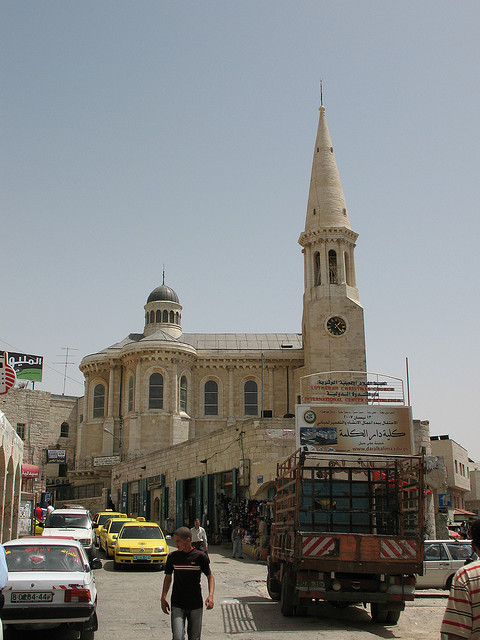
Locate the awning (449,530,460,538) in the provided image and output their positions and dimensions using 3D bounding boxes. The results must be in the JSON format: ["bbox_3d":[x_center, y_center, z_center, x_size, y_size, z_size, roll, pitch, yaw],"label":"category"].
[{"bbox_3d":[9.873,9.846,32.780,0.389,0.184,4.795,-4,-16,16],"label":"awning"}]

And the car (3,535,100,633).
[{"bbox_3d":[-2.391,3.200,9.155,1.319,0.975,2.280,1,-6,-7],"label":"car"}]

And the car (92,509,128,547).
[{"bbox_3d":[-5.393,8.441,29.476,1.376,1.234,2.495,5,-20,-15],"label":"car"}]

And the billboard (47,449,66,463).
[{"bbox_3d":[-16.318,12.062,63.220,1.803,1.284,1.002,1,-10,-7],"label":"billboard"}]

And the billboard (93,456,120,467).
[{"bbox_3d":[-10.404,10.937,55.099,2.814,0.776,0.418,-11,-19,37],"label":"billboard"}]

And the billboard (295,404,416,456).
[{"bbox_3d":[4.242,4.166,26.797,5.331,2.487,0.077,1,-13,-5],"label":"billboard"}]

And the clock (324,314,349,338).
[{"bbox_3d":[7.519,0.512,55.793,1.660,1.686,0.222,8,-24,5],"label":"clock"}]

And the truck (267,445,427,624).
[{"bbox_3d":[1.645,3.692,12.263,2.183,2.359,4.143,3,-16,-3],"label":"truck"}]

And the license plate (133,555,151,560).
[{"bbox_3d":[-2.606,6.271,18.854,0.462,0.111,0.030,2,-15,-8],"label":"license plate"}]

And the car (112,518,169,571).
[{"bbox_3d":[-2.745,6.271,19.682,1.403,1.221,1.659,2,-15,-8],"label":"car"}]

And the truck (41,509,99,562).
[{"bbox_3d":[-5.411,6.678,22.379,1.737,1.514,3.931,2,-12,-8],"label":"truck"}]

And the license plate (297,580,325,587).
[{"bbox_3d":[1.025,3.809,10.316,0.370,0.097,0.099,-1,-15,4],"label":"license plate"}]

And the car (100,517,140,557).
[{"bbox_3d":[-4.013,7.077,23.595,1.403,1.153,2.485,3,-25,-11],"label":"car"}]
